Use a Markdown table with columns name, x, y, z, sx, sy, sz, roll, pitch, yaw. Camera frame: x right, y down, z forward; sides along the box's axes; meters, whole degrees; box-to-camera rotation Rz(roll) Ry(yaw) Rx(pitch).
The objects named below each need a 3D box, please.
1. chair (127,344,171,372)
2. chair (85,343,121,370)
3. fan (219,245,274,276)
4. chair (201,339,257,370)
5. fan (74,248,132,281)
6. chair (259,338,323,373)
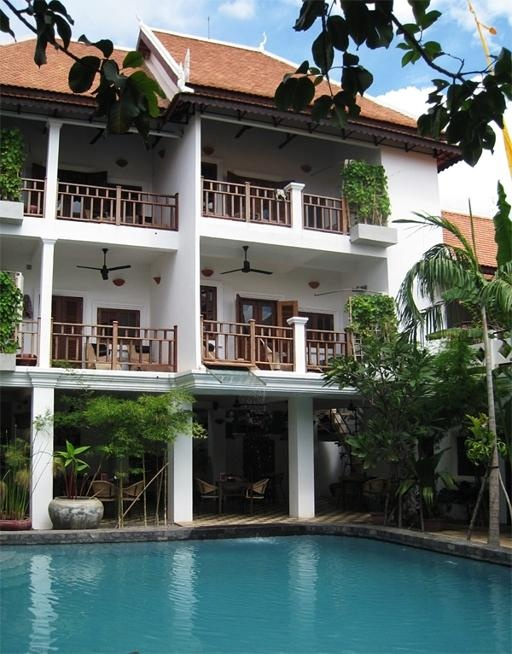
| name | x | y | z | sx | sy | sz | roll | pitch | yaw |
| --- | --- | --- | --- | --- | --- | --- | --- | --- | --- |
| chair | -2.495 | 0.779 | 14.769 | 0.860 | 0.518 | 0.797 | 1 | -5 | -4 |
| chair | -3.508 | 0.652 | 14.132 | 0.805 | 0.806 | 0.645 | -1 | -3 | -1 |
| fan | -0.195 | -1.566 | 15.805 | 0.924 | 0.376 | 0.876 | 0 | -7 | -10 |
| chair | -0.790 | 0.662 | 14.000 | 0.836 | 0.471 | 0.815 | 3 | -2 | -28 |
| fan | -3.896 | -1.496 | 15.747 | 1.099 | 0.479 | 1.045 | 2 | -5 | -1 |
| chair | 0.853 | 0.676 | 15.009 | 1.474 | 0.879 | 0.784 | 1 | -6 | -13 |
